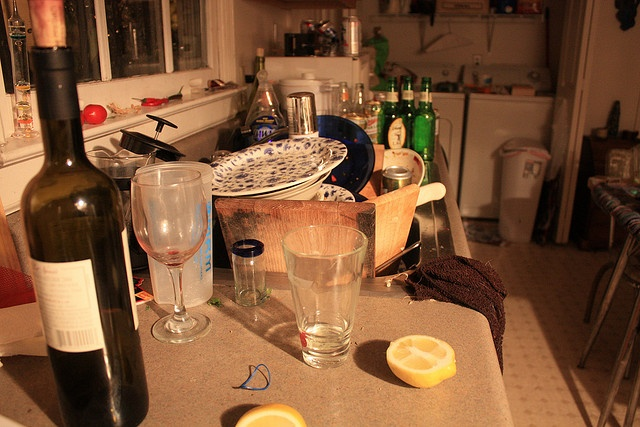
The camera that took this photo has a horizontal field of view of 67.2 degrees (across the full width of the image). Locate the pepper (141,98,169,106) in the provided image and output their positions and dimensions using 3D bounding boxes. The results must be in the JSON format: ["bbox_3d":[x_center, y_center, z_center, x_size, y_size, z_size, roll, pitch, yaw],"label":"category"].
[{"bbox_3d":[-0.579,-0.395,1.672,0.069,0.022,0.036,-8,20,-11],"label":"pepper"}]

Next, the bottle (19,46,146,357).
[{"bbox_3d":[-0.382,0.022,0.761,0.148,0.611,0.158,7,29,-4],"label":"bottle"}]

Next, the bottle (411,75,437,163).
[{"bbox_3d":[0.416,-0.373,1.933,0.096,0.328,0.269,3,22,12],"label":"bottle"}]

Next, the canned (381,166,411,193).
[{"bbox_3d":[0.228,-0.104,1.485,0.083,0.085,0.081,10,30,21],"label":"canned"}]

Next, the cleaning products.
[{"bbox_3d":[-0.218,-0.395,1.892,0.154,0.339,0.088,-3,34,-10],"label":"cleaning products"}]

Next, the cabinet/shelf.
[{"bbox_3d":[1.190,-1.605,4.295,1.544,0.535,0.365,6,23,20],"label":"cabinet/shelf"}]

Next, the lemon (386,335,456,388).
[{"bbox_3d":[0.179,0.258,0.843,0.107,0.035,0.132,-27,27,-37],"label":"lemon"}]

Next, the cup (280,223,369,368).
[{"bbox_3d":[0.008,0.152,0.855,0.203,0.278,0.190,-1,18,0],"label":"cup"}]

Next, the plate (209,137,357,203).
[{"bbox_3d":[-0.097,-0.158,1.295,0.408,0.172,0.323,7,15,36],"label":"plate"}]

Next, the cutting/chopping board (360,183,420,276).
[{"bbox_3d":[0.171,0.048,1.146,0.204,0.220,0.033,-25,37,-38],"label":"cutting/chopping board"}]

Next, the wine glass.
[{"bbox_3d":[-0.277,0.079,0.923,0.137,0.313,0.142,-3,11,-2],"label":"wine glass"}]

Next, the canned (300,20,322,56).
[{"bbox_3d":[-0.043,-0.915,2.492,0.133,0.177,0.130,5,27,15],"label":"canned"}]

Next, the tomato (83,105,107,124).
[{"bbox_3d":[-0.630,-0.279,1.353,0.059,0.050,0.056,1,0,-20],"label":"tomato"}]

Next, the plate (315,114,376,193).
[{"bbox_3d":[0.065,-0.187,1.598,0.181,0.254,0.245,8,19,18],"label":"plate"}]

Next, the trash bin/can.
[{"bbox_3d":[1.496,-0.145,3.612,0.328,0.724,0.226,6,24,19],"label":"trash bin/can"}]

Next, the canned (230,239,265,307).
[{"bbox_3d":[-0.148,0.121,1.009,0.070,0.119,0.093,-5,22,-8],"label":"canned"}]
